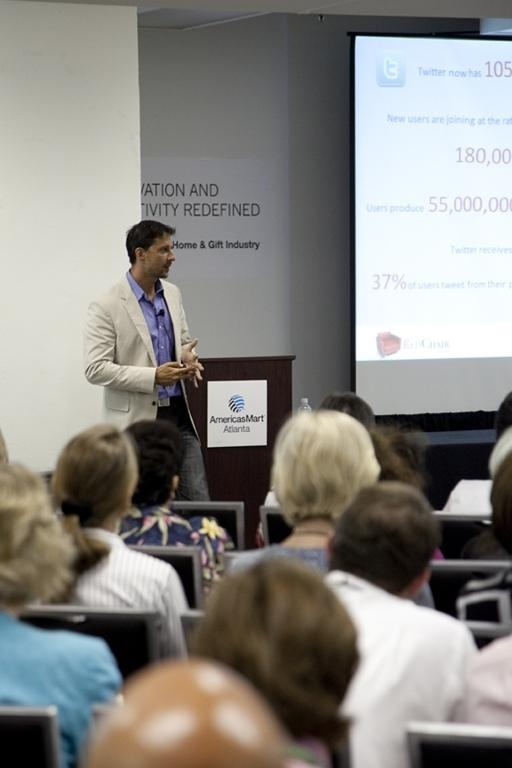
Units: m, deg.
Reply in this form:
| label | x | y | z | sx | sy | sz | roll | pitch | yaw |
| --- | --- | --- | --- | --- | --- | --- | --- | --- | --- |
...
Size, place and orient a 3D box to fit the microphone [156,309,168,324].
| label | x | y | z | sx | sy | sz | roll | pitch | yaw |
| --- | --- | --- | --- | --- | --- | --- | --- | --- | --- |
| microphone | -0.490 | -0.357 | 4.243 | 0.054 | 0.074 | 0.077 | 5 | 4 | 8 |

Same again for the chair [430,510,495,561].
| label | x | y | z | sx | sy | sz | roll | pitch | yaw |
| --- | --- | --- | --- | --- | --- | --- | --- | --- | --- |
| chair | 0.609 | 0.430 | 2.327 | 0.160 | 0.187 | 0.202 | 1 | 3 | 20 |

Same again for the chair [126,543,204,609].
| label | x | y | z | sx | sy | sz | roll | pitch | yaw |
| --- | --- | --- | --- | --- | --- | --- | --- | --- | --- |
| chair | -0.197 | 0.443 | 2.024 | 0.229 | 0.192 | 0.148 | 1 | 8 | 5 |

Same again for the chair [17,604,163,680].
| label | x | y | z | sx | sy | sz | roll | pitch | yaw |
| --- | --- | --- | --- | --- | --- | --- | --- | --- | --- |
| chair | -0.298 | 0.514 | 1.564 | 0.295 | 0.177 | 0.168 | -2 | -5 | 12 |
